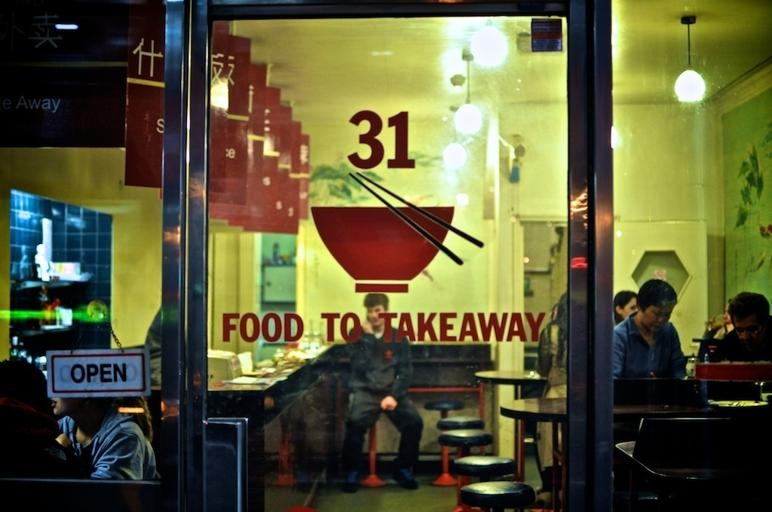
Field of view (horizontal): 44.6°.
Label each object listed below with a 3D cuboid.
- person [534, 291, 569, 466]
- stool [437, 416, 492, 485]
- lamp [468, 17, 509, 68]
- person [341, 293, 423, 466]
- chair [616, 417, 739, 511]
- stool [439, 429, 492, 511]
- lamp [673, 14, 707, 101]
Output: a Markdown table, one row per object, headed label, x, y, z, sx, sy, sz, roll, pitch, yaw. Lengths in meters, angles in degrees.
| label | x | y | z | sx | sy | sz | roll | pitch | yaw |
| --- | --- | --- | --- | --- | --- | --- | --- | --- | --- |
| person | 0.772 | 0.575 | 4.331 | 0.157 | 0.800 | 0.082 | -2 | -6 | 12 |
| stool | 0.346 | 0.899 | 4.380 | 0.288 | 0.320 | 0.291 | -1 | -8 | 13 |
| lamp | 0.484 | -0.988 | 4.379 | 0.194 | 0.224 | 0.197 | 0 | 3 | 20 |
| person | -0.016 | 0.585 | 4.383 | 0.371 | 0.812 | 0.115 | -1 | -6 | -3 |
| chair | 1.403 | 0.959 | 4.487 | 0.425 | 0.491 | 0.487 | 1 | -5 | 1 |
| stool | 0.338 | 0.989 | 4.369 | 0.335 | 0.370 | 0.329 | 1 | -7 | -6 |
| lamp | 1.422 | -0.922 | 4.383 | 0.144 | 0.412 | 0.062 | -2 | -6 | 10 |
